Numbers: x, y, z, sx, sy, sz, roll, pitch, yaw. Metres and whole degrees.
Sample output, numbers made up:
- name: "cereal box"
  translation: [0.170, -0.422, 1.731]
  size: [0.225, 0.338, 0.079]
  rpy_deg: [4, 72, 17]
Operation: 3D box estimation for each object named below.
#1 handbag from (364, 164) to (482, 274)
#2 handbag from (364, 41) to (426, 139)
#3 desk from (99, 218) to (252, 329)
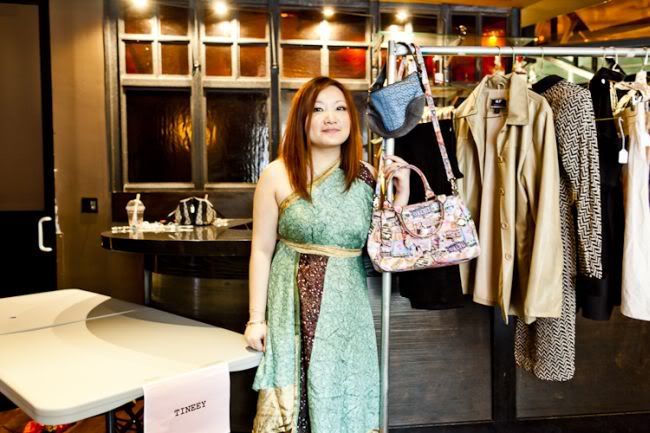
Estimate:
- name: "handbag"
  translation: [0.455, 0.020, 2.761]
  size: [0.490, 0.484, 0.197]
  rpy_deg: [-11, 2, -5]
- name: "handbag"
  translation: [0.340, -0.563, 2.745]
  size: [0.277, 0.461, 0.198]
  rpy_deg: [-1, -9, 33]
- name: "desk"
  translation: [-0.740, 0.361, 3.321]
  size: [0.677, 0.330, 0.666]
  rpy_deg: [0, 5, -21]
